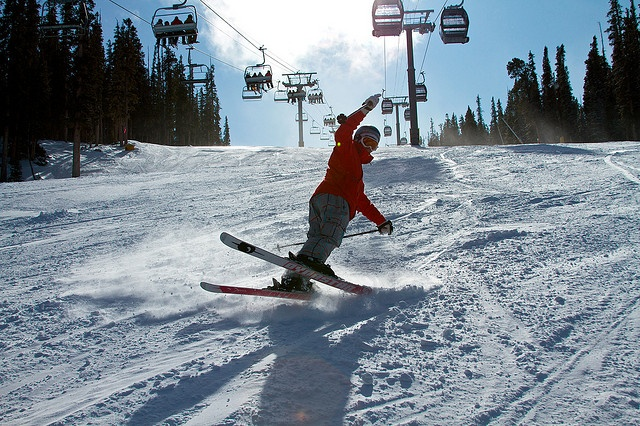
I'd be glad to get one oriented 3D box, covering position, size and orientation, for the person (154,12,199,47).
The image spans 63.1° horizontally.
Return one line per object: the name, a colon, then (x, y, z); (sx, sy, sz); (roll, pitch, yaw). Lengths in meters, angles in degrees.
person: (-5.956, -7.546, 21.774); (1.758, 1.148, 0.897); (-1, 4, 3)
